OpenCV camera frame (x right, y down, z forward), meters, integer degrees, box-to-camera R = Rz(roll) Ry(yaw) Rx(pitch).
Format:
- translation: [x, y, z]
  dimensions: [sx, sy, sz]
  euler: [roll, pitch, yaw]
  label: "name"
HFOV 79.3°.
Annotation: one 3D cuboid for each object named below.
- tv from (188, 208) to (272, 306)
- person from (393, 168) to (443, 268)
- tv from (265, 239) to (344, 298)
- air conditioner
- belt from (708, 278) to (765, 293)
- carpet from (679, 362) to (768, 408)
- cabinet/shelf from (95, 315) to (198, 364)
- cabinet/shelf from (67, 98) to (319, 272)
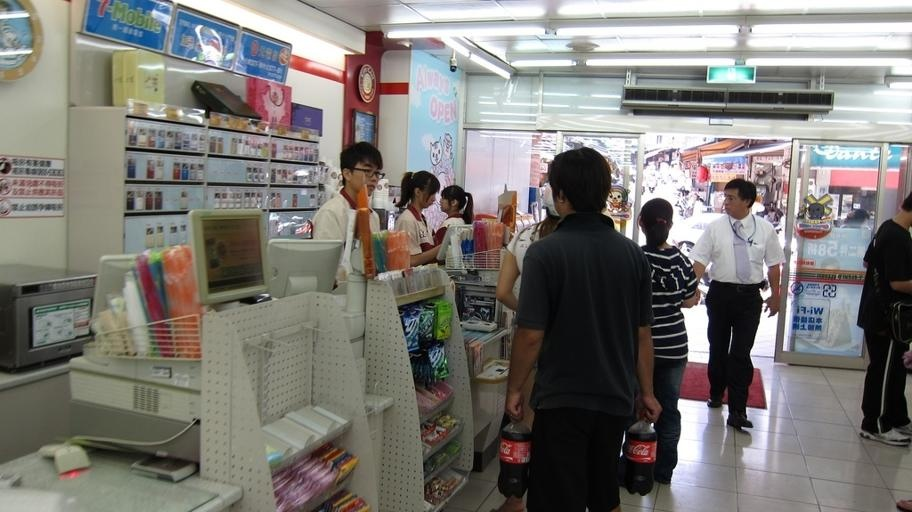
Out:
- translation: [-1.316, -0.010, 3.228]
  dimensions: [0.247, 0.568, 0.468]
  euler: [15, 20, 42]
  label: "tv"
- translation: [-0.396, -0.394, 5.672]
  dimensions: [0.447, 0.953, 1.137]
  euler: [1, 14, -4]
  label: "person"
- translation: [-1.066, 0.106, 3.812]
  dimensions: [0.227, 0.426, 0.665]
  euler: [2, 1, 35]
  label: "tv"
- translation: [4.466, -2.638, 9.260]
  dimensions: [3.383, 0.477, 0.460]
  euler: [2, -7, 3]
  label: "air conditioner"
- translation: [3.010, 0.293, 5.765]
  dimensions: [0.313, 0.083, 0.238]
  euler: [-4, -12, 30]
  label: "belt"
- translation: [3.024, 1.477, 6.250]
  dimensions: [0.868, 0.054, 0.736]
  euler: [-3, 11, 14]
  label: "carpet"
- translation: [-1.758, 0.472, 3.184]
  dimensions: [0.496, 0.201, 0.303]
  euler: [2, -2, 10]
  label: "cabinet/shelf"
- translation: [-2.460, -0.685, 4.960]
  dimensions: [0.642, 1.172, 2.129]
  euler: [1, 3, 30]
  label: "cabinet/shelf"
